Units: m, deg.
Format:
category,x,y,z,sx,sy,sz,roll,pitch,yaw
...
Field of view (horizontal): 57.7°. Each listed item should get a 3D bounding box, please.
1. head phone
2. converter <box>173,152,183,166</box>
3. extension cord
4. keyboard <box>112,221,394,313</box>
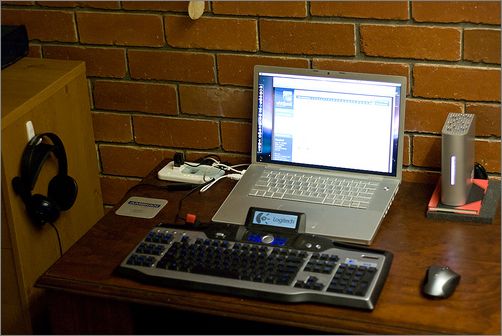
category,x,y,z,sx,sy,sz,roll,pitch,yaw
head phone,-0.705,0.038,1.587,0.122,0.289,0.236,6,21,4
converter,-0.275,-0.033,1.723,0.042,0.058,0.044,1,10,-1
extension cord,-0.229,0.007,1.706,0.197,0.065,0.128,7,23,17
keyboard,0.003,0.276,1.331,0.767,0.096,0.306,2,23,28
